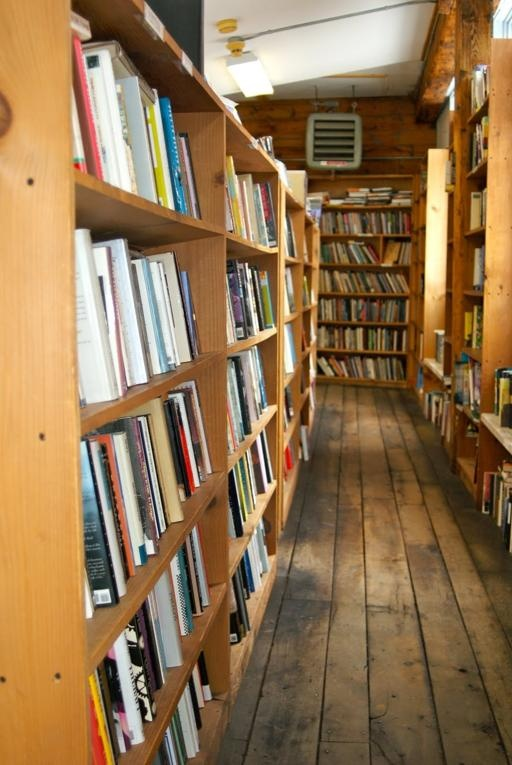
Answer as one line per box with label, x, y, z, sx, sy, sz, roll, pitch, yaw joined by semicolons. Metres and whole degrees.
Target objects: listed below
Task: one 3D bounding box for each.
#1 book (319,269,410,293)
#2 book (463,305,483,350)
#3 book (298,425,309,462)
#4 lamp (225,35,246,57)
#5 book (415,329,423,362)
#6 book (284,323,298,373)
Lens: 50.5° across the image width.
book;1.365;-1.273;6.878;1.093;0.312;0.192;1;7;12
book;1.342;-0.351;3.355;0.151;0.289;0.283;2;3;28
book;0.341;0.426;3.894;0.042;0.216;0.186;-2;7;11
lamp;-0.144;-2.369;3.858;0.124;0.141;0.133;-3;4;-8
book;1.811;-0.412;6.034;0.094;0.284;0.299;-2;38;8
book;0.196;-0.192;3.134;0.039;0.331;0.284;-2;6;12
